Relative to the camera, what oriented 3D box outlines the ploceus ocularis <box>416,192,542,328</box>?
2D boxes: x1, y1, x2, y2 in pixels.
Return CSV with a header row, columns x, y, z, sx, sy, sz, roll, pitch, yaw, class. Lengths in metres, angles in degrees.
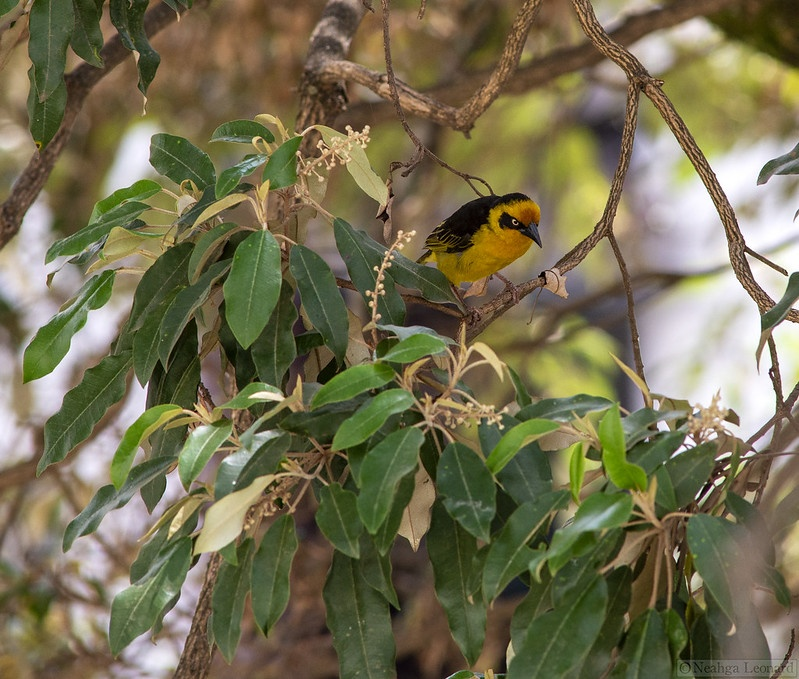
x,y,z,sx,sy,sz,roll,pitch,yaw,class
0.330,-0.459,4.473,0.315,0.522,0.775,-16,26,-41,ploceus ocularis
